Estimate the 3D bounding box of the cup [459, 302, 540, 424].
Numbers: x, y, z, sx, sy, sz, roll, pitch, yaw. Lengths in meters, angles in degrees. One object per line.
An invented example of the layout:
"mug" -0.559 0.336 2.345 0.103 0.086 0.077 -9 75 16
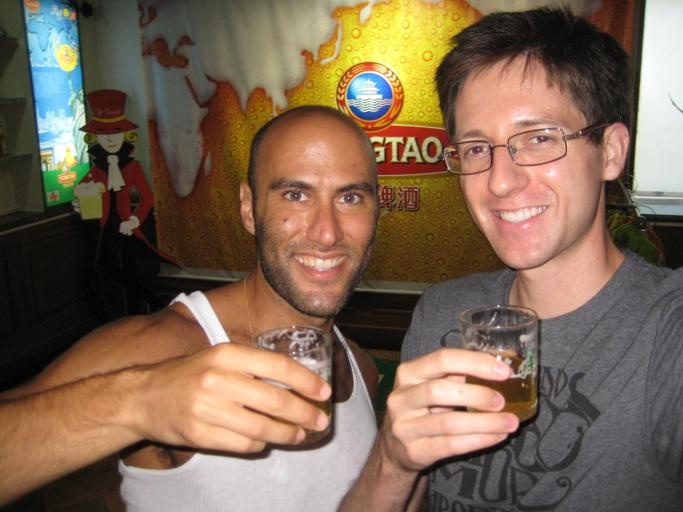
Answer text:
"cup" 0.485 0.328 1.573 0.239 0.309 0.219 -1 16 0
